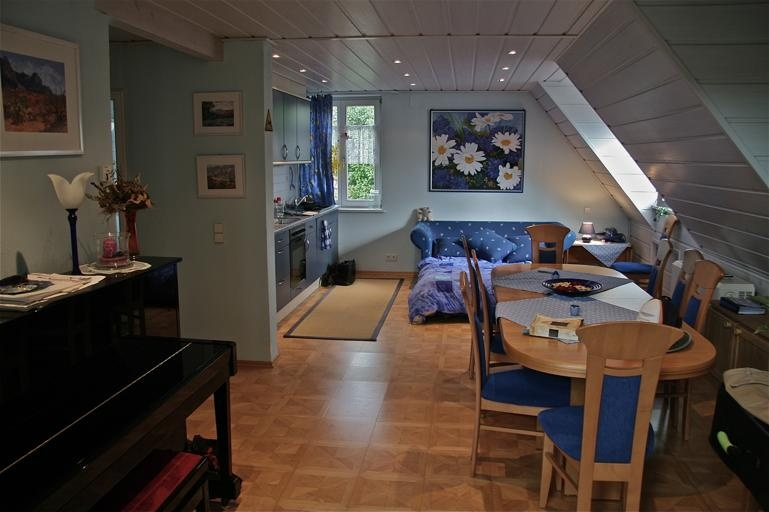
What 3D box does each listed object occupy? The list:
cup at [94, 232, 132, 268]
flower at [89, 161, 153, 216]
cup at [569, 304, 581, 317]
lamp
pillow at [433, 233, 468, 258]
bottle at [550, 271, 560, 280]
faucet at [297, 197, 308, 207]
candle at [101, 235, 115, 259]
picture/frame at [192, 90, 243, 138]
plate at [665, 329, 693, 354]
[{"bbox_3d":[-1.620,-0.043,3.228,0.212,0.217,0.209,1,4,0],"label":"cup"},{"bbox_3d":[-1.676,-0.411,3.461,0.402,0.253,0.398,0,6,4],"label":"flower"},{"bbox_3d":[1.323,0.373,3.689,0.076,0.066,0.088,0,1,11],"label":"cup"},{"bbox_3d":[-1.866,-0.214,3.258,0.235,0.590,0.546,-8,12,-30],"label":"lamp"},{"bbox_3d":[0.921,-0.183,7.620,0.330,0.102,0.342,0,47,7],"label":"pillow"},{"bbox_3d":[1.496,0.165,4.629,0.071,0.034,0.096,2,14,10],"label":"bottle"},{"bbox_3d":[-1.239,-0.849,8.093,0.138,0.126,0.393,-3,11,-9],"label":"faucet"},{"bbox_3d":[-1.651,-0.063,3.207,0.084,0.136,0.046,-6,12,-24],"label":"candle"},{"bbox_3d":[-1.519,-1.340,4.937,0.454,0.365,0.033,1,3,5],"label":"picture/frame"},{"bbox_3d":[1.804,0.522,3.243,0.143,0.023,0.144,-18,15,33],"label":"plate"}]
